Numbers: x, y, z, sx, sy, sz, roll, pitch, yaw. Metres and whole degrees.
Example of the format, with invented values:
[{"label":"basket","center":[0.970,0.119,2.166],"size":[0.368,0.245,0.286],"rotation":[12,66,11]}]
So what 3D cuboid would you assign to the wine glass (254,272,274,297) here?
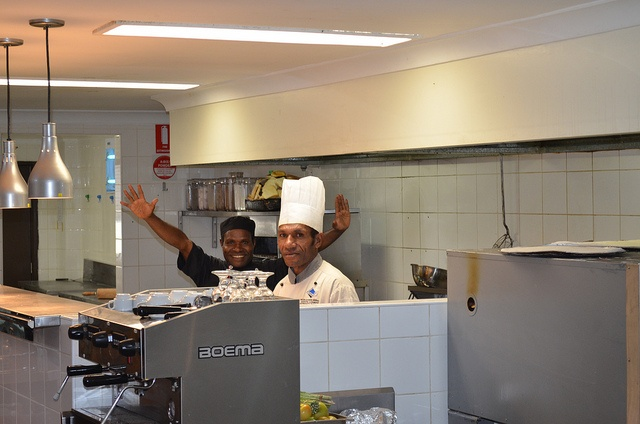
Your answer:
[{"label":"wine glass","center":[-0.226,0.294,2.325],"size":[0.082,0.090,0.083],"rotation":[1,-3,2]}]

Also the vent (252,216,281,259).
[{"label":"vent","center":[-0.457,0.190,4.850],"size":[0.268,0.373,0.207],"rotation":[3,19,6]}]

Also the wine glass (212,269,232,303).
[{"label":"wine glass","center":[-0.392,0.298,2.295],"size":[0.102,0.121,0.103],"rotation":[1,1,-17]}]

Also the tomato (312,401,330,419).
[{"label":"tomato","center":[0.009,0.789,2.273],"size":[0.045,0.049,0.062],"rotation":[-7,-12,-3]}]

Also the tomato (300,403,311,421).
[{"label":"tomato","center":[-0.060,0.783,2.243],"size":[0.035,0.051,0.066],"rotation":[-2,-1,25]}]

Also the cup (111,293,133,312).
[{"label":"cup","center":[-0.767,0.343,2.215],"size":[0.068,0.060,0.064],"rotation":[4,0,0]}]

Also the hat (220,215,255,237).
[{"label":"hat","center":[-0.539,0.094,3.770],"size":[0.166,0.093,0.144],"rotation":[1,-6,-8]}]

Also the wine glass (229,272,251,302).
[{"label":"wine glass","center":[-0.318,0.307,2.279],"size":[0.090,0.143,0.096],"rotation":[2,-14,-14]}]

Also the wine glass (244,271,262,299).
[{"label":"wine glass","center":[-0.245,0.291,2.257],"size":[0.081,0.129,0.088],"rotation":[2,-6,5]}]

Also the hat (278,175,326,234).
[{"label":"hat","center":[-0.065,-0.038,3.146],"size":[0.227,0.295,0.300],"rotation":[-1,-15,18]}]
